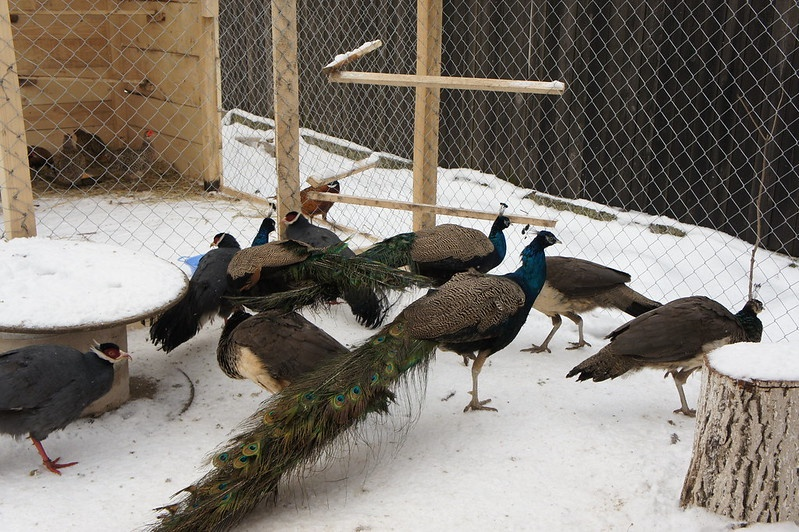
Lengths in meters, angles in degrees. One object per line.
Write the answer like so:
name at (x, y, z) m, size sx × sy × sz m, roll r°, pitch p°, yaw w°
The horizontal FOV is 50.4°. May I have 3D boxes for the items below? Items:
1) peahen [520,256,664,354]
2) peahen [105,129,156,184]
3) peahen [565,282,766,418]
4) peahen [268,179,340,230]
peahen at (1.549, 0.175, 7.324) m, size 1.609 × 1.010 × 0.502 m, roll -1°, pitch 10°, yaw -13°
peahen at (-3.525, -1.481, 10.962) m, size 0.622 × 0.657 × 0.534 m, roll 3°, pitch 13°, yaw -39°
peahen at (2.097, 0.647, 6.553) m, size 1.545 × 0.949 × 0.623 m, roll 5°, pitch 1°, yaw -10°
peahen at (-0.949, -0.621, 8.415) m, size 0.569 × 0.576 × 0.266 m, roll 23°, pitch 33°, yaw 11°
